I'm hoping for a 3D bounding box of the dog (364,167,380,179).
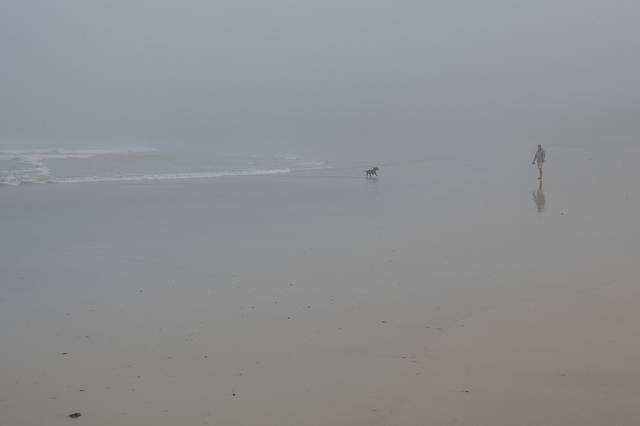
[{"bbox_3d":[0.756,-0.593,10.812,0.324,0.153,0.084,-6,24,43],"label":"dog"}]
